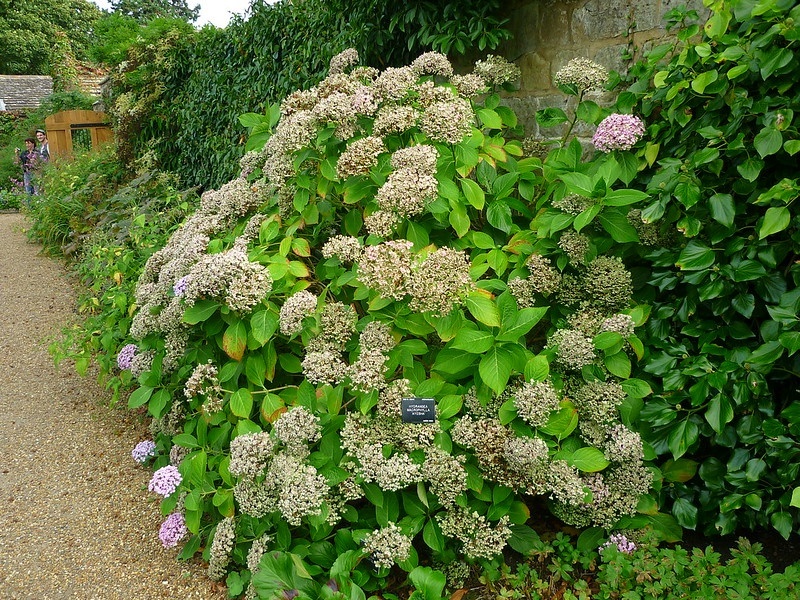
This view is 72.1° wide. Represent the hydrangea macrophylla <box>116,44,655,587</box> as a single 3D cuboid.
[{"bbox_3d":[0.024,0.245,3.999,2.639,1.975,3.258,10,72,4],"label":"hydrangea macrophylla"}]
